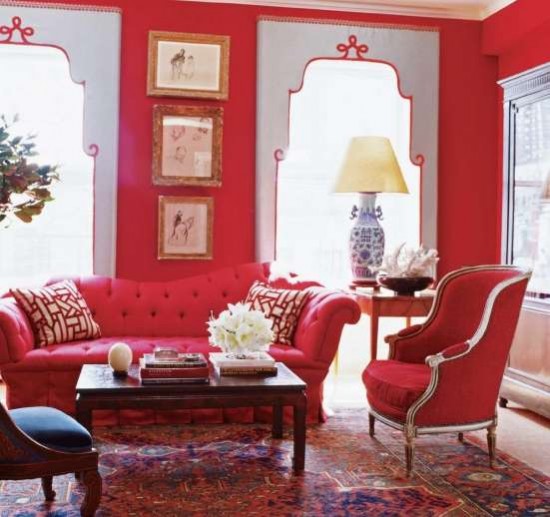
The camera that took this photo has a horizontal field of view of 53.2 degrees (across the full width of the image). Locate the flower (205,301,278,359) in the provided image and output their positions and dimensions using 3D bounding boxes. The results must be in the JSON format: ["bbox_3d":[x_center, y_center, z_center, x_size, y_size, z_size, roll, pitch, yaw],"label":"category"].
[{"bbox_3d":[-0.191,0.347,2.815,0.333,0.182,0.304,1,8,-32],"label":"flower"}]

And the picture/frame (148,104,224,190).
[{"bbox_3d":[-0.714,-0.863,4.255,0.814,0.724,0.059,1,1,-9],"label":"picture/frame"}]

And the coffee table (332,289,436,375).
[{"bbox_3d":[0.719,0.556,3.972,0.555,0.553,0.775,3,-5,-14],"label":"coffee table"}]

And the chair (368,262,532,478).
[{"bbox_3d":[0.623,0.520,3.124,1.180,1.161,0.960,0,1,-7],"label":"chair"}]

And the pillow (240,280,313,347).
[{"bbox_3d":[0.014,0.374,3.674,0.405,0.371,0.126,6,-17,27],"label":"pillow"}]

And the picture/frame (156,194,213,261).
[{"bbox_3d":[-0.721,-0.240,4.262,0.642,0.572,0.041,1,0,-11],"label":"picture/frame"}]

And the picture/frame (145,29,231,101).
[{"bbox_3d":[-0.709,-1.487,4.253,0.717,0.481,0.052,1,0,-9],"label":"picture/frame"}]
